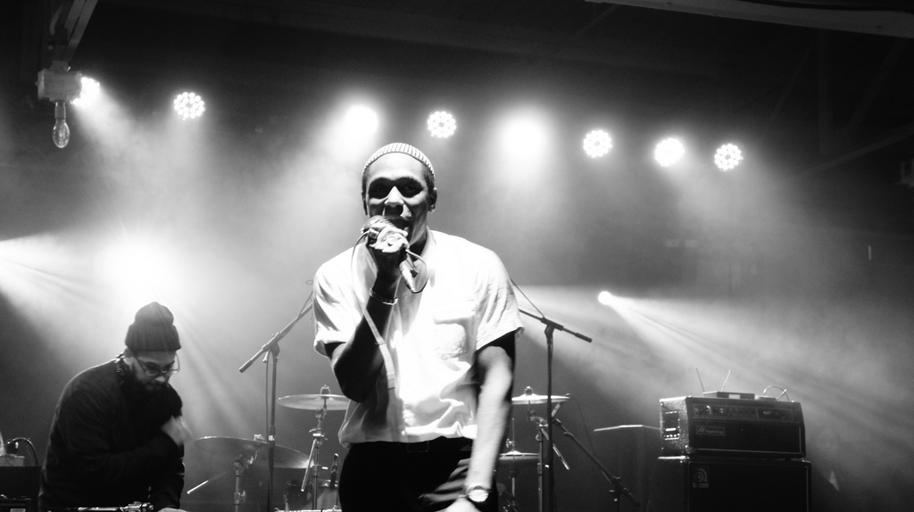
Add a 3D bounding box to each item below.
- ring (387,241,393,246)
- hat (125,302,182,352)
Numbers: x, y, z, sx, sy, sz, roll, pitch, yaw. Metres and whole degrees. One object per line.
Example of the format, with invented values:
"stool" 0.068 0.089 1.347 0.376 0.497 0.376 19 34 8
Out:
"ring" -0.528 -0.102 6.042 0.050 0.030 0.006 0 -9 4
"hat" -3.242 0.732 8.043 0.507 0.477 0.520 1 -3 40
